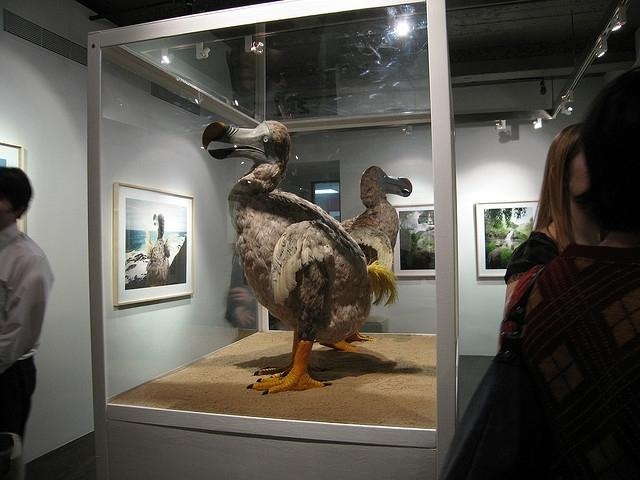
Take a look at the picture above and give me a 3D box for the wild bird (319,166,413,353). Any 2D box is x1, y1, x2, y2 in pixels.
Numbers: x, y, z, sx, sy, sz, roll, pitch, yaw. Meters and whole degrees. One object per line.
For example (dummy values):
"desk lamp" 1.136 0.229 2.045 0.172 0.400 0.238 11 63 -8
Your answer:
"wild bird" 0.184 -0.010 1.569 0.097 0.454 0.296 -2 2 -24
